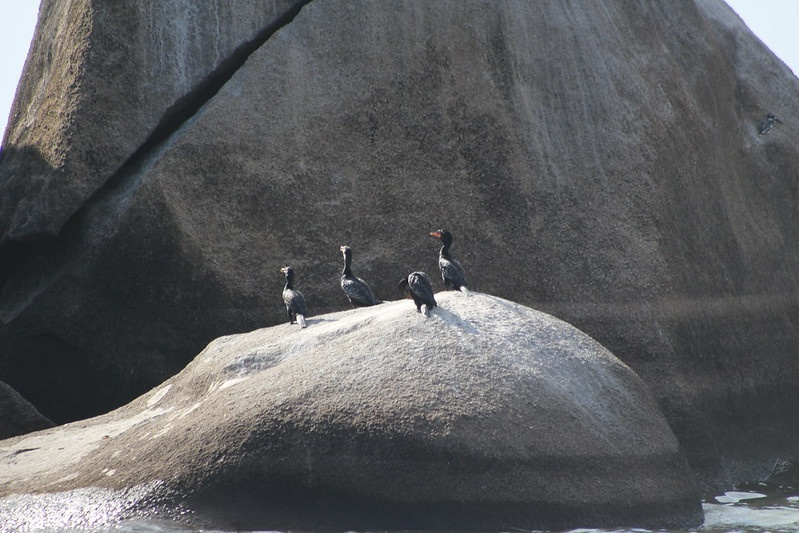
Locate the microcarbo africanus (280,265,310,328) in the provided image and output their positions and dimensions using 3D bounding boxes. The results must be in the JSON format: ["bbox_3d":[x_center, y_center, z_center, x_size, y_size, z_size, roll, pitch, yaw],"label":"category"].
[{"bbox_3d":[-1.213,0.349,23.901,0.245,0.522,0.760,-6,26,-21],"label":"microcarbo africanus"}]

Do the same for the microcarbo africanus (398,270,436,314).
[{"bbox_3d":[0.270,0.305,22.878,0.291,0.502,0.291,-9,-18,7],"label":"microcarbo africanus"}]
